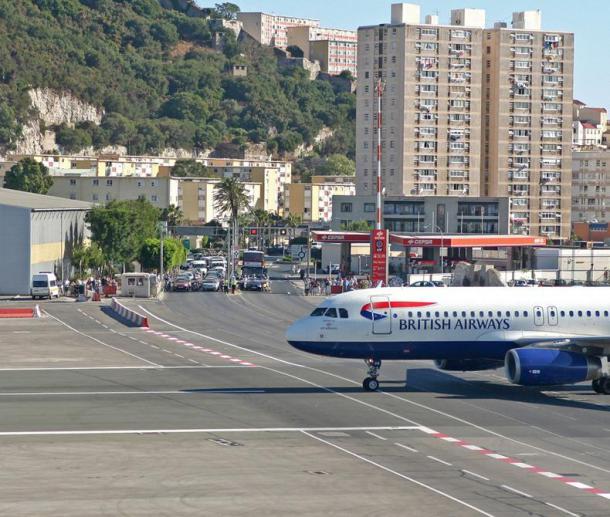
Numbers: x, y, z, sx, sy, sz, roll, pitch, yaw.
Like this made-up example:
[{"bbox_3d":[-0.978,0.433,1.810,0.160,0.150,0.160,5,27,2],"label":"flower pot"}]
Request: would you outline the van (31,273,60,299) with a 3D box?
[{"bbox_3d":[-31.507,3.421,215.023,2.114,2.064,3.790,0,2,7],"label":"van"}]
